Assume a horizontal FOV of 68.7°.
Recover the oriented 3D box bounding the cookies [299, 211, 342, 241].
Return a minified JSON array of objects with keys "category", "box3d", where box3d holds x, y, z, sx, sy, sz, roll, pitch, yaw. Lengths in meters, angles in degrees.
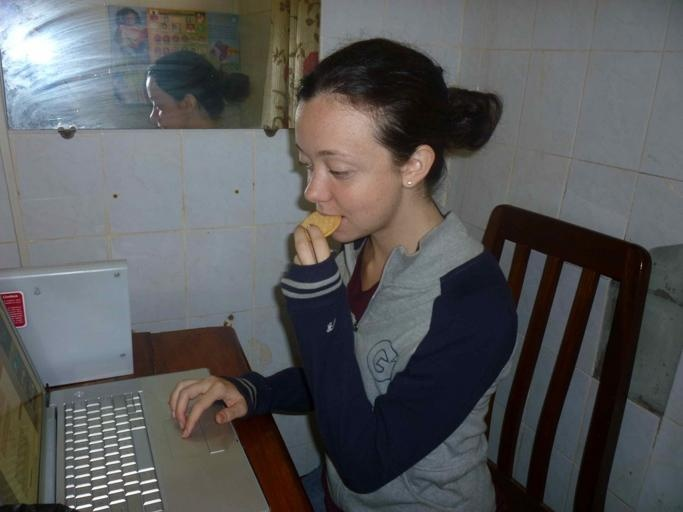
[{"category":"cookies","box3d":[-0.051,-0.095,1.278,0.079,0.019,0.079,-18,41,32]}]
